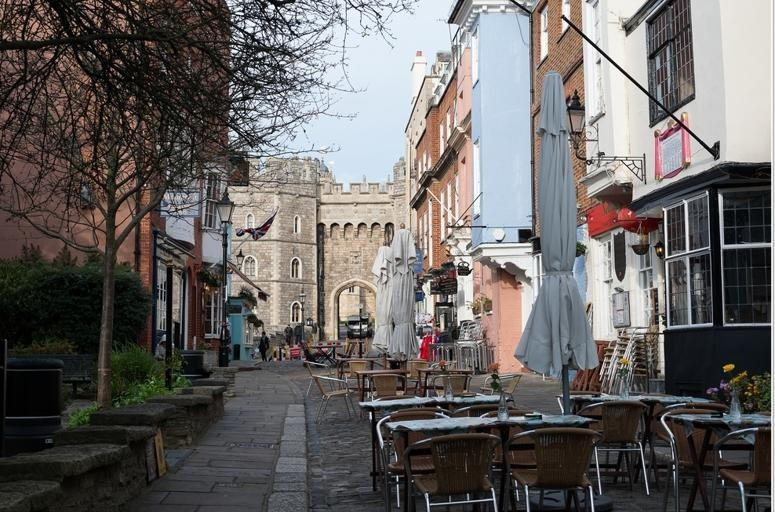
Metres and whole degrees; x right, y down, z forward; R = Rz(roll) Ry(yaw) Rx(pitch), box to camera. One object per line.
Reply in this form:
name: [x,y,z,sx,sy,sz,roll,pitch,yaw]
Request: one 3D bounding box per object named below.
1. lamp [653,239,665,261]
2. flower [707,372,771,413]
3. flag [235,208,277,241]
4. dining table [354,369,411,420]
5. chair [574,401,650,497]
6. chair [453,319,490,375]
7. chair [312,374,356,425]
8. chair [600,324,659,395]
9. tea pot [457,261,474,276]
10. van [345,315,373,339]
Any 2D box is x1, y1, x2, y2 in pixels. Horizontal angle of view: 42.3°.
lamp: [5.821,-0.142,21.433,0.316,0.457,0.341,-2,-13,11]
flower: [5.798,2.250,16.442,0.795,0.621,0.862,1,-3,-34]
flag: [-8.860,-2.138,66.335,2.715,2.044,1.473,-17,-32,16]
dining table: [-0.111,2.610,19.304,1.029,1.002,0.867,0,-8,-8]
chair: [3.072,2.594,13.635,0.987,1.250,0.989,1,-12,3]
chair: [2.702,2.971,33.223,1.460,1.472,1.511,-1,-6,13]
chair: [-1.094,2.922,20.795,0.848,0.982,0.816,-8,3,-29]
chair: [5.540,2.391,22.046,0.784,1.344,1.143,-11,-13,32]
tea pot: [2.732,0.481,36.378,0.601,0.539,0.457,12,-13,-36]
van: [-2.068,5.042,70.929,1.793,1.371,3.647,-2,-8,1]
